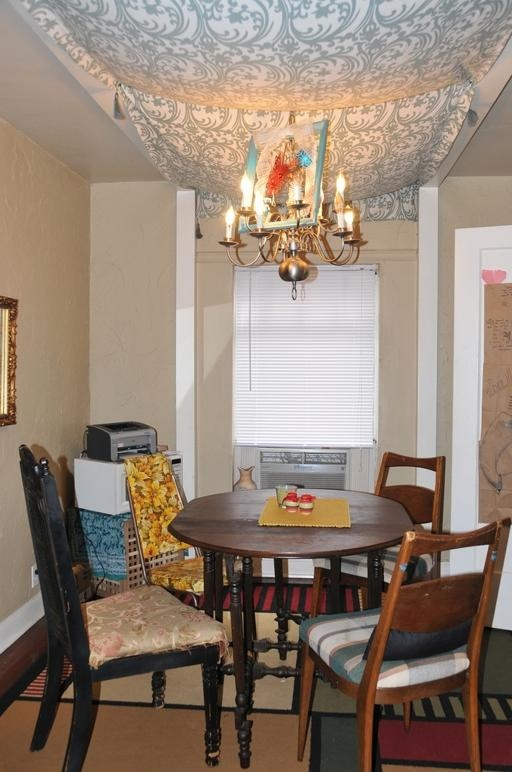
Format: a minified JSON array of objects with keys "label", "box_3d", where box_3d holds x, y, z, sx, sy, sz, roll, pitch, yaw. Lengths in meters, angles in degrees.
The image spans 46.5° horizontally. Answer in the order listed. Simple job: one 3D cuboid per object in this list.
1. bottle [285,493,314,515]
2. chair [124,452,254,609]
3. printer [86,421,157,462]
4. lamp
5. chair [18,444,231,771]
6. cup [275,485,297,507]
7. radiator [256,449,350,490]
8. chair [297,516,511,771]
[{"label":"bottle","box_3d":[0.161,0.439,2.220,0.064,0.052,0.092,1,-2,4]},{"label":"chair","box_3d":[-0.294,0.752,2.563,0.425,0.770,0.505,-2,3,-44]},{"label":"printer","box_3d":[-0.763,0.297,3.268,0.216,0.179,0.286,-1,0,38]},{"label":"lamp","box_3d":[0.160,-0.810,2.683,0.705,1.008,0.685,-2,5,-9]},{"label":"chair","box_3d":[-0.463,0.652,2.422,0.887,1.499,0.889,-2,5,-23]},{"label":"cup","box_3d":[0.114,0.438,2.338,0.065,0.056,0.071,1,-5,0]},{"label":"radiator","box_3d":[0.313,0.527,3.979,0.626,0.226,0.585,0,-1,4]},{"label":"chair","box_3d":[0.434,0.724,1.667,0.486,0.775,0.503,2,2,-16]}]
